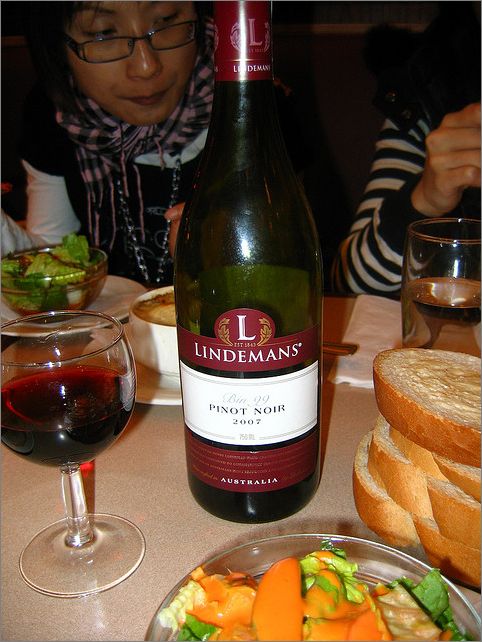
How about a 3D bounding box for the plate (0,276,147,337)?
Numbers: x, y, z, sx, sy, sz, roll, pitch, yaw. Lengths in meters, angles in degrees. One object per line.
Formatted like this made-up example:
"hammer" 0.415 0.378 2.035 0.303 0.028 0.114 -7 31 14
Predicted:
"plate" -0.300 -0.042 1.057 0.179 0.024 0.169 -9 24 -22
